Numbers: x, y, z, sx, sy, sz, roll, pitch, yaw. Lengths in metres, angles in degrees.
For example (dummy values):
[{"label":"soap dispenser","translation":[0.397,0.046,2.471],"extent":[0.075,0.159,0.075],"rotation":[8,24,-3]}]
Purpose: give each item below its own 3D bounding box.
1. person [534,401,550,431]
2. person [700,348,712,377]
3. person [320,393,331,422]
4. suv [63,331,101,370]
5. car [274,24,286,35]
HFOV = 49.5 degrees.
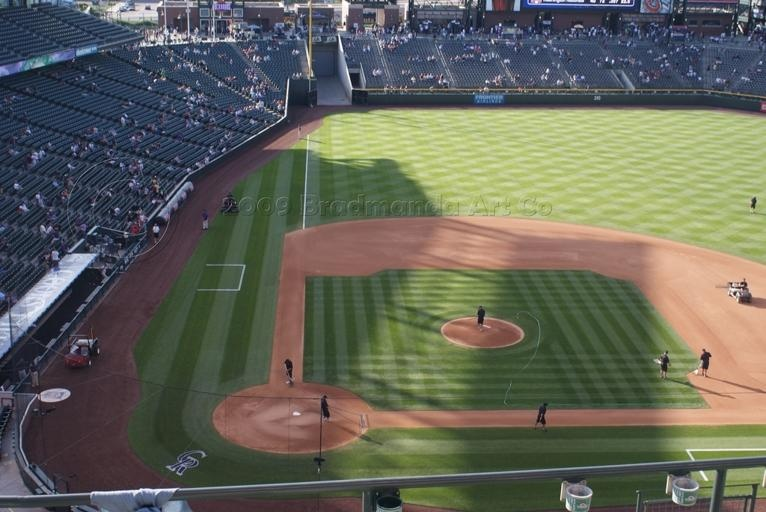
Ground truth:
[{"label":"person","translation":[7.789,7.614,40.843],"extent":[0.551,1.402,1.176],"rotation":[3,26,10]},{"label":"person","translation":[17.068,5.596,44.128],"extent":[0.496,1.325,0.822],"rotation":[8,28,20]},{"label":"person","translation":[-2.901,7.238,41.048],"extent":[0.499,1.348,1.147],"rotation":[-4,26,-5]},{"label":"suv","translation":[-16.055,4.900,44.117],"extent":[1.373,1.200,2.197],"rotation":[4,23,-2]},{"label":"car","translation":[-13.253,-29.117,106.513],"extent":[1.710,1.522,2.977],"rotation":[6,11,-8]}]
